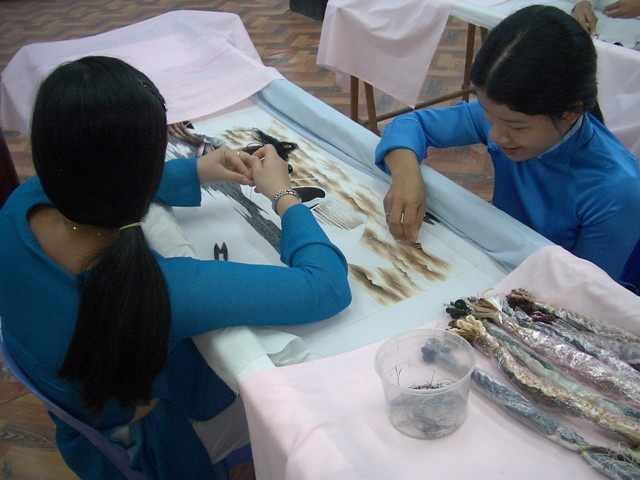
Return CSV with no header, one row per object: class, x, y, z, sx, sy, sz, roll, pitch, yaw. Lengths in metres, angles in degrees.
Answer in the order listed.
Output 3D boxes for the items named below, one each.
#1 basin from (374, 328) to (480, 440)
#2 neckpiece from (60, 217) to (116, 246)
basin,0.169,0.231,0.722,0.165,0.107,0.168,-8,16,2
neckpiece,-0.406,-0.012,0.780,0.067,0.030,0.050,12,18,-13
